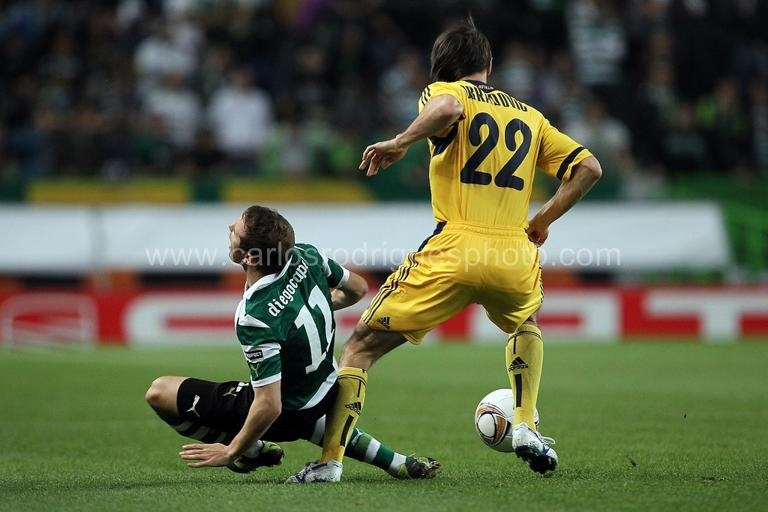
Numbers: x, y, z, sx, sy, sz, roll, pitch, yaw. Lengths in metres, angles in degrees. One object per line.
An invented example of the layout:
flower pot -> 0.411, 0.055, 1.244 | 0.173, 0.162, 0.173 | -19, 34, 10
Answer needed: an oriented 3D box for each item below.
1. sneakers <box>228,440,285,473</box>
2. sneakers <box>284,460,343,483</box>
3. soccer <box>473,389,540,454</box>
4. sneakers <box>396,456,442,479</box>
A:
sneakers -> -1.039, 1.664, 8.454 | 0.540, 0.204, 0.271 | -10, 26, -2
sneakers -> -0.594, 1.763, 8.405 | 0.511, 0.212, 0.175 | 0, -18, 3
soccer -> 1.035, 1.365, 8.886 | 0.563, 0.642, 0.590 | -3, 10, 16
sneakers -> 0.270, 1.721, 8.385 | 0.290, 0.176, 0.119 | -3, -17, 1
